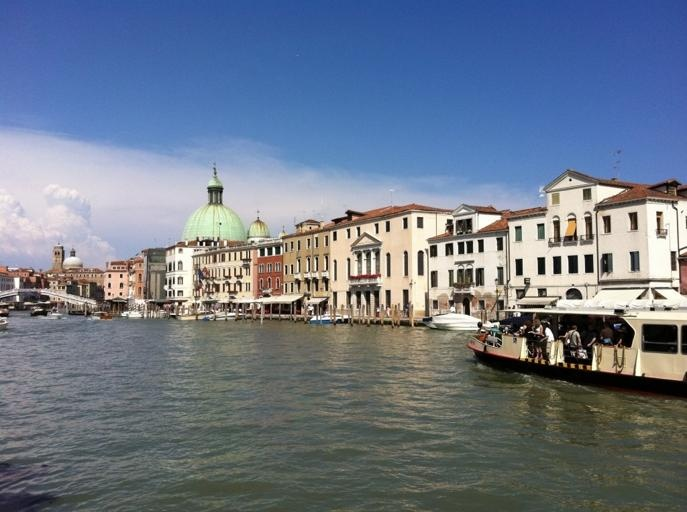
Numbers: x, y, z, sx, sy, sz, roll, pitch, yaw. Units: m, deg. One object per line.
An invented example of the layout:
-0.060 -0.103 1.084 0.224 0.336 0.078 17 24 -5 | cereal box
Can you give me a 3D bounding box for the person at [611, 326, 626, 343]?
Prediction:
12.751 3.636 34.131 0.525 0.958 1.139 0 5 12 | person
